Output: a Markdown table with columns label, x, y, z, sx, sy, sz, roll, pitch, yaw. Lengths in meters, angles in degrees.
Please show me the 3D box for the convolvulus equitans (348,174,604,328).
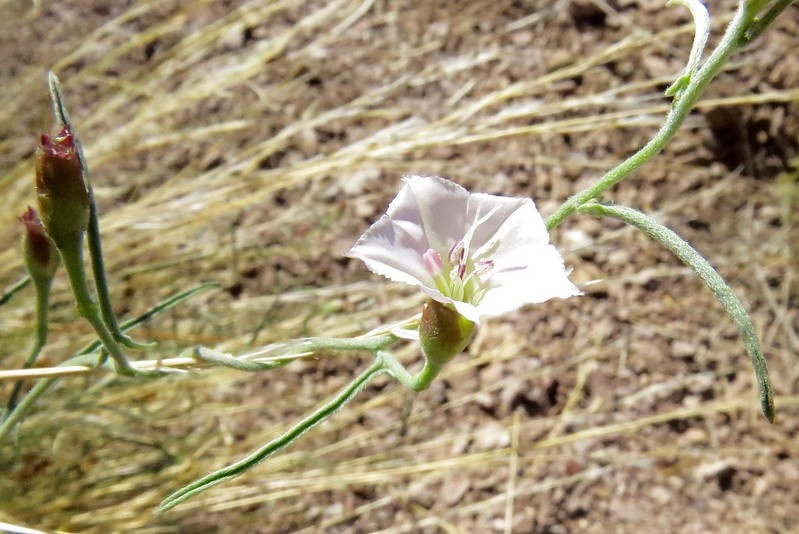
| label | x | y | z | sx | sy | sz | roll | pitch | yaw |
| --- | --- | --- | --- | --- | --- | --- | --- | --- | --- |
| convolvulus equitans | 0.236 | -0.080 | 2.993 | 0.777 | 0.251 | 0.658 | 7 | 37 | -15 |
